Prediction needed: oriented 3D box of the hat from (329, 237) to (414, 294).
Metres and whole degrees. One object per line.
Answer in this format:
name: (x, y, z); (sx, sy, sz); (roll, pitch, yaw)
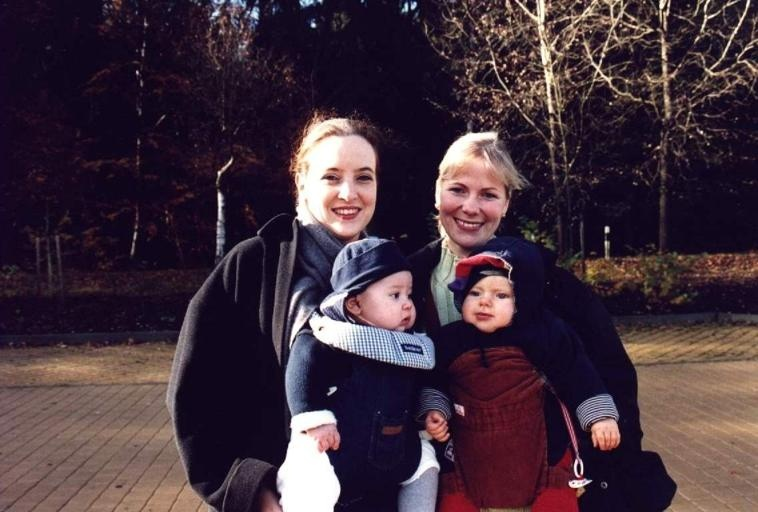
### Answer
hat: (-0.074, 0.119, 6.237); (0.586, 0.350, 0.496); (-7, -33, -30)
